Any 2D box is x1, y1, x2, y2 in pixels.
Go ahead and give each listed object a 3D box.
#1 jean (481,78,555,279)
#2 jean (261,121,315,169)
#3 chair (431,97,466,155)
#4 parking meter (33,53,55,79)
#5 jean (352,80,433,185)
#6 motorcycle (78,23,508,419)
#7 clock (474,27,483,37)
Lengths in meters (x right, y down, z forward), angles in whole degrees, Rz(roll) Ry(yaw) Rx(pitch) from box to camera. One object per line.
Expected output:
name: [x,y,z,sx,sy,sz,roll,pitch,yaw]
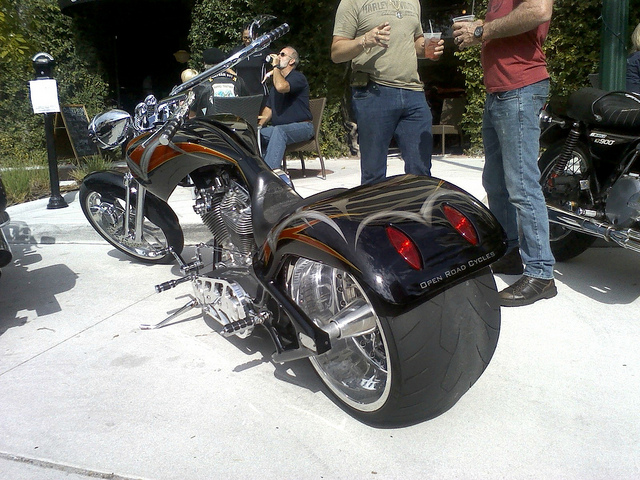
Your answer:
jean: [1.315,-0.413,3.250,0.368,1.367,0.557,-6,11,-1]
jean: [-0.427,-1.249,6.190,0.423,0.455,1.162,1,21,17]
chair: [2.517,-2.318,9.282,0.596,1.078,0.763,-9,12,-4]
parking meter: [-3.071,-1.956,5.388,0.229,0.277,0.209,-17,23,-31]
jean: [0.525,-0.794,3.431,0.555,0.696,0.303,-4,20,4]
motorcycle: [-0.451,-0.236,2.946,3.063,1.638,0.996,20,33,41]
clock: [0.979,-1.288,2.966,0.039,0.062,0.053,10,15,29]
